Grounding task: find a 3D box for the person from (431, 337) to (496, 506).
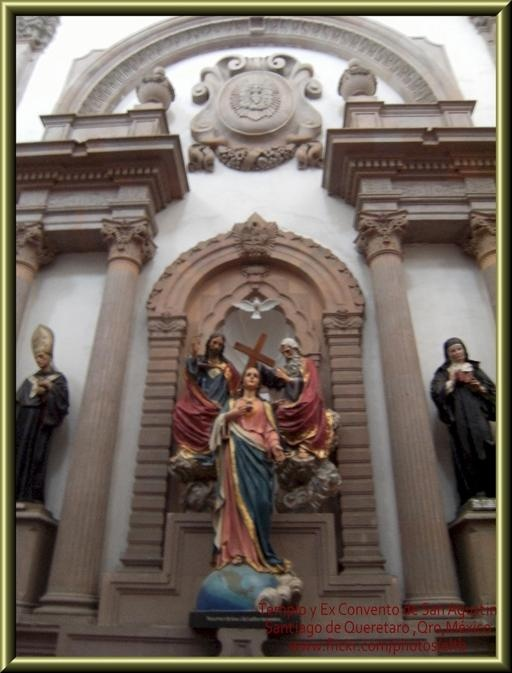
[{"bbox_3d":[1.848,0.773,5.422,0.488,1.224,0.273,-23,-39,35],"label":"person"}]
